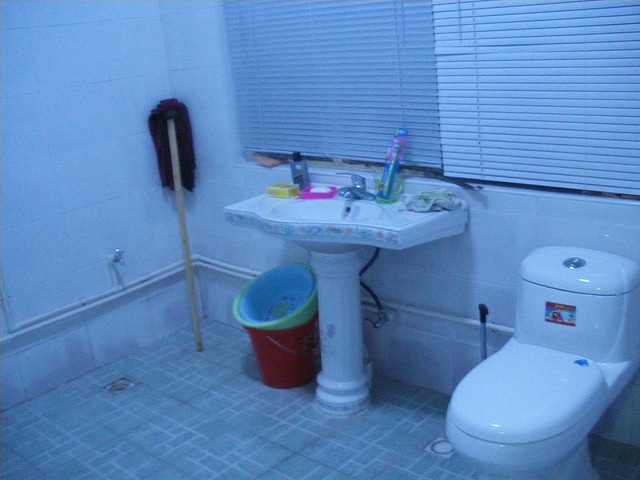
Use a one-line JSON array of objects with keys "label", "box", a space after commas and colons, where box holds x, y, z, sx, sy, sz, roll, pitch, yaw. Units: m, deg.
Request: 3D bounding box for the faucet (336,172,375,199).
[{"label": "faucet", "box": [0.159, -0.257, 2.204, 0.160, 0.088, 0.281, 0, 21, 1]}]

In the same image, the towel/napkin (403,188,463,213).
[{"label": "towel/napkin", "box": [0.467, -0.172, 1.936, 0.148, 0.044, 0.138, -7, 13, -36]}]

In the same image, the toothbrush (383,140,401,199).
[{"label": "toothbrush", "box": [0.301, -0.290, 2.031, 0.046, 0.236, 0.104, 11, 27, 24]}]

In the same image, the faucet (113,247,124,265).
[{"label": "faucet", "box": [-1.097, 0.103, 2.601, 0.051, 0.105, 0.063, -7, 25, -13]}]
